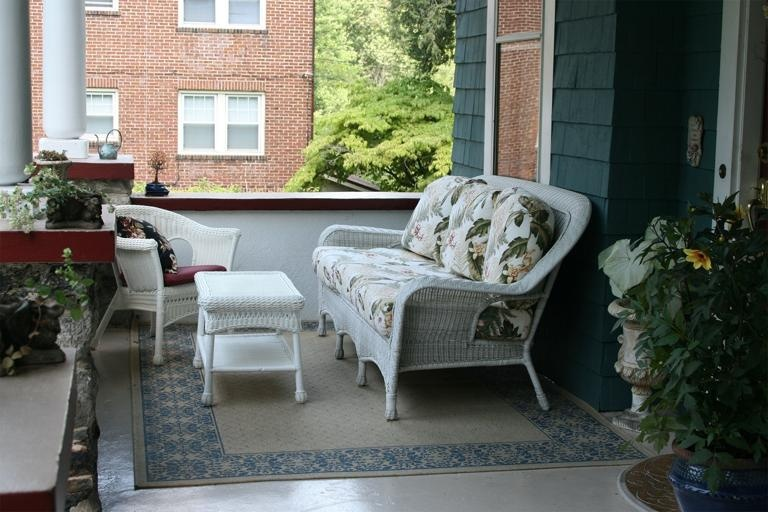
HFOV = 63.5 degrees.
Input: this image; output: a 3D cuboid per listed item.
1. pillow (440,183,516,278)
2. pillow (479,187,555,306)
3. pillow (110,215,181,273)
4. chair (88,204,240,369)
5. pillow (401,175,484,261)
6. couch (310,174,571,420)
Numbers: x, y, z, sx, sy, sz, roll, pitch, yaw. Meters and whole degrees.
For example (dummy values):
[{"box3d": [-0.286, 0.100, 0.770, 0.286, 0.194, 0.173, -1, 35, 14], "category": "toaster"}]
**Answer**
[{"box3d": [0.403, -0.184, 4.260, 0.452, 0.633, 0.863, 0, 5, -10], "category": "pillow"}, {"box3d": [0.773, -0.109, 3.750, 0.434, 0.557, 0.524, 11, 15, 37], "category": "pillow"}, {"box3d": [-1.726, -0.133, 4.552, 0.469, 0.459, 0.346, -4, 26, -8], "category": "pillow"}, {"box3d": [-1.609, 0.120, 4.703, 0.984, 1.180, 1.025, 0, 13, -10], "category": "chair"}, {"box3d": [0.365, -0.310, 4.865, 0.525, 0.655, 0.600, -7, 14, -31], "category": "pillow"}, {"box3d": [0.402, 0.317, 4.044, 1.558, 1.511, 2.473, -1, 6, -19], "category": "couch"}]
